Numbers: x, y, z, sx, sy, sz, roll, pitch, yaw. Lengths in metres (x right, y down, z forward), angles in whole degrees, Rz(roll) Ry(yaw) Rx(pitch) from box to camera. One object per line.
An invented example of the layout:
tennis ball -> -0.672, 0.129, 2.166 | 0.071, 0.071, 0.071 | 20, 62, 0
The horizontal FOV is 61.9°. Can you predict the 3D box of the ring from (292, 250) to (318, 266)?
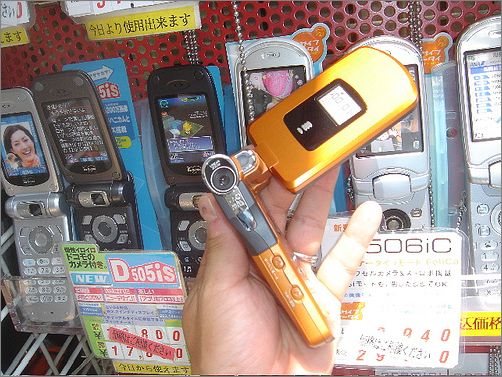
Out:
ring -> 0.200, 0.245, 1.519 | 0.082, 0.033, 0.064 | 3, -1, -5
